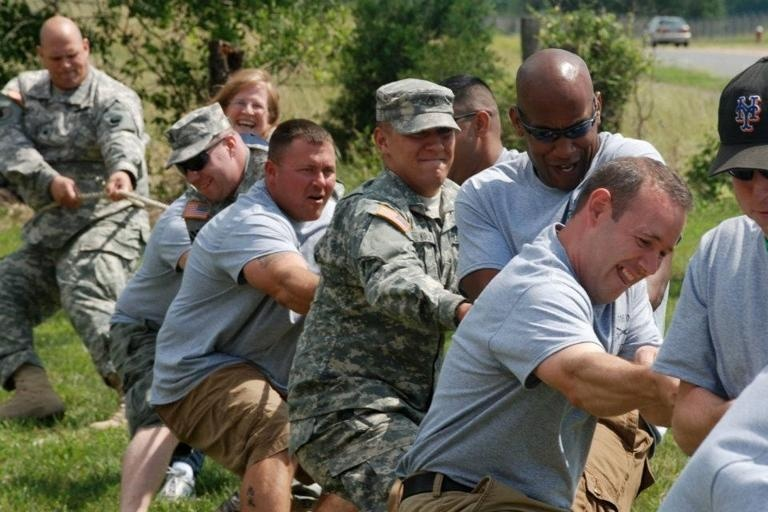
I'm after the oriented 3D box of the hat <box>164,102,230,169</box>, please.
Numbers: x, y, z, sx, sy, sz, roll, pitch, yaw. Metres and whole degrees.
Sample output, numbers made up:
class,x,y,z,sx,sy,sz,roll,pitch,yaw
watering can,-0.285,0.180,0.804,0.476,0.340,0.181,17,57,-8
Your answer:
class,x,y,z,sx,sy,sz,roll,pitch,yaw
hat,-1.464,-0.955,9.509,0.571,0.209,0.396,-35,13,-25

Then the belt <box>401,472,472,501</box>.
class,x,y,z,sx,sy,sz,roll,pitch,yaw
belt,0.277,1.378,7.361,0.253,0.065,0.245,0,-20,37

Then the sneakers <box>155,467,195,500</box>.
class,x,y,z,sx,sy,sz,roll,pitch,yaw
sneakers,-1.630,1.788,9.578,0.195,0.261,0.280,10,-25,-10
